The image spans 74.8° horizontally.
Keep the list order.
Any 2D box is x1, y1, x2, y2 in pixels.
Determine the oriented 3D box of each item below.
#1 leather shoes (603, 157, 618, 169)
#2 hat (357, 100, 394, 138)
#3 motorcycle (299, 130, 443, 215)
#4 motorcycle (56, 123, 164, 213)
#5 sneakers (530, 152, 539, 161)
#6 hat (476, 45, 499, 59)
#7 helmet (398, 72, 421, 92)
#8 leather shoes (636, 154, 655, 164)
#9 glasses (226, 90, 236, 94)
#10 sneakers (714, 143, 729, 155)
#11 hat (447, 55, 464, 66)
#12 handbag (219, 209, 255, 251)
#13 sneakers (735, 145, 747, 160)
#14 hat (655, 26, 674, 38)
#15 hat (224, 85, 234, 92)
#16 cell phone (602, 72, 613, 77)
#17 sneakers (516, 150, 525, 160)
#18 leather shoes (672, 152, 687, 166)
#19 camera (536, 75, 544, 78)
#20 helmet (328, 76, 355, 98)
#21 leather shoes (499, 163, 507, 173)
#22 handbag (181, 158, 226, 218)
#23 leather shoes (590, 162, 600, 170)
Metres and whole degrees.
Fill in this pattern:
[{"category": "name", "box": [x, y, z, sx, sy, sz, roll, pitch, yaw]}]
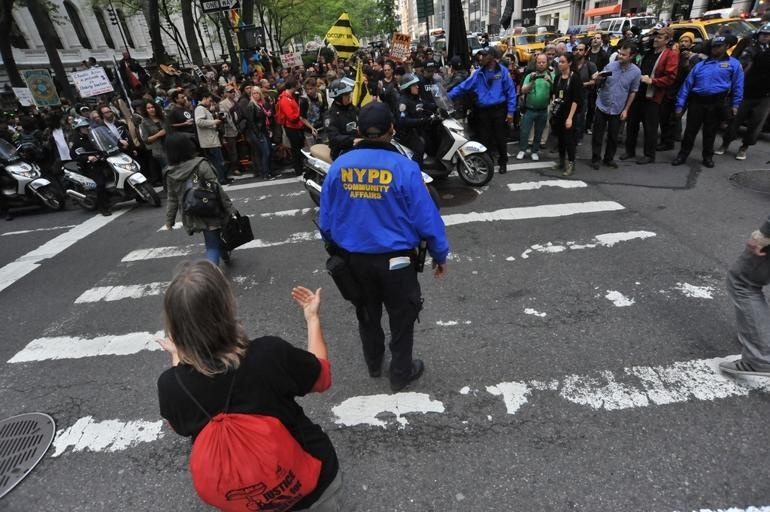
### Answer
[{"category": "leather shoes", "box": [4.738, -2.003, 10.548, 0.142, 0.146, 0.370, -12, 29, -5]}, {"category": "hat", "box": [-0.098, -1.415, 5.244, 0.292, 0.227, 0.392, 1, 70, 4]}, {"category": "motorcycle", "box": [-0.823, -1.571, 8.788, 1.751, 1.030, 0.822, -6, 6, 40]}, {"category": "motorcycle", "box": [-6.281, -1.962, 11.130, 2.692, 1.831, 1.109, 1, 20, 27]}, {"category": "sneakers", "box": [3.397, -2.306, 11.344, 0.112, 0.100, 0.260, 0, 24, 9]}, {"category": "hat", "box": [2.131, -4.230, 10.234, 0.355, 0.243, 0.712, 2, 27, 12]}, {"category": "helmet", "box": [0.435, -3.308, 9.334, 0.412, 0.312, 0.324, -28, 13, 19]}, {"category": "leather shoes", "box": [5.442, -2.075, 10.511, 0.424, 0.167, 0.152, -3, 26, -3]}, {"category": "glasses", "box": [-3.672, -3.949, 11.915, 0.157, 0.073, 0.115, -7, 33, 36]}, {"category": "sneakers", "box": [7.203, -2.342, 10.757, 0.461, 0.175, 0.152, -15, 35, -31]}, {"category": "hat", "box": [1.820, -5.227, 13.267, 0.318, 0.237, 0.421, -16, 48, -18]}, {"category": "handbag", "box": [-2.239, -0.406, 7.446, 0.218, 0.554, 0.556, 22, 35, 27]}, {"category": "sneakers", "box": [7.344, -2.184, 10.317, 0.169, 0.188, 0.495, 6, 32, 36]}, {"category": "hat", "box": [5.740, -4.664, 10.326, 0.267, 0.219, 0.422, 11, 31, 28]}, {"category": "hat", "box": [-3.742, -4.061, 11.974, 0.225, 0.130, 0.320, -20, 36, -38]}, {"category": "cell phone", "box": [4.388, -3.649, 9.903, 0.125, 0.066, 0.012, -9, 25, 5]}, {"category": "sneakers", "box": [3.113, -2.372, 11.508, 0.108, 0.109, 0.273, 15, 33, 31]}, {"category": "leather shoes", "box": [6.023, -2.066, 10.275, 0.159, 0.192, 0.457, -1, 34, 20]}, {"category": "camera", "box": [3.229, -3.778, 10.394, 0.138, 0.057, 0.034, -2, 28, 6]}, {"category": "helmet", "box": [-0.801, -3.119, 9.100, 0.514, 0.307, 0.366, -29, 19, 9]}, {"category": "leather shoes", "box": [2.507, -1.924, 10.696, 0.177, 0.189, 0.288, 0, 28, 11]}, {"category": "handbag", "box": [-2.652, -1.000, 7.273, 0.673, 0.767, 0.463, -9, 26, -35]}, {"category": "leather shoes", "box": [4.402, -1.949, 10.479, 0.192, 0.123, 0.234, 7, 29, 21]}]
